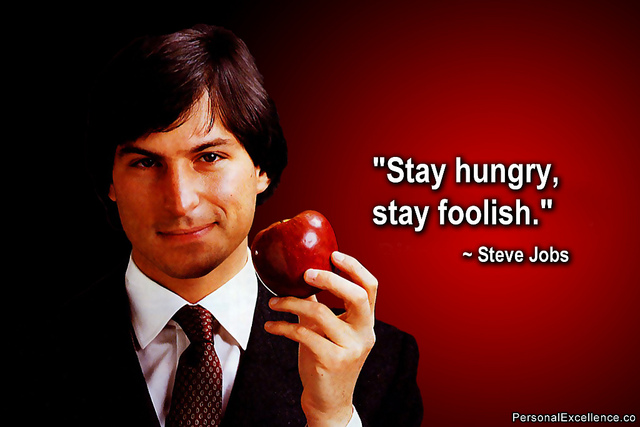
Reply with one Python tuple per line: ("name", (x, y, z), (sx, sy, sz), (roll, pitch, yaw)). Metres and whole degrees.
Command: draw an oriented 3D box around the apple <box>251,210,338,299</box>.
("apple", (-0.105, 0.155, 2.375), (0.327, 0.310, 0.329), (-35, 7, -2))
